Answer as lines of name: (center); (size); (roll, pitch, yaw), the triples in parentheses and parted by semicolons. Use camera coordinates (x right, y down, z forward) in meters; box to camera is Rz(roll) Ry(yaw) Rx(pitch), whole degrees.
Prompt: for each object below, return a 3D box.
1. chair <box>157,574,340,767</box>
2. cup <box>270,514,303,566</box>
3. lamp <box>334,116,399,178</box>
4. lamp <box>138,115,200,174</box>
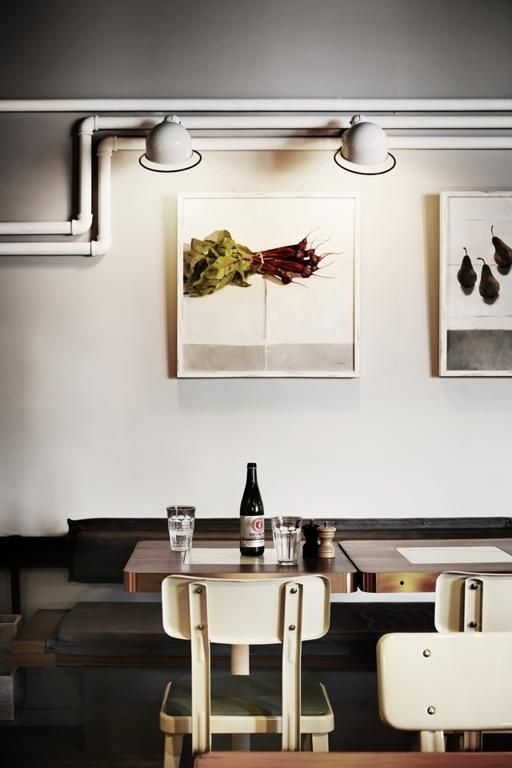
chair: (-0.021, 0.718, 1.902); (0.431, 0.528, 0.344); (0, 0, -1)
cup: (0.077, 0.449, 2.110); (0.115, 0.150, 0.114); (-2, -11, 0)
lamp: (0.362, -0.787, 2.493); (0.190, 0.122, 0.197); (-6, 27, -8)
lamp: (-0.294, -0.808, 2.489); (0.194, 0.183, 0.165); (1, 1, 44)
